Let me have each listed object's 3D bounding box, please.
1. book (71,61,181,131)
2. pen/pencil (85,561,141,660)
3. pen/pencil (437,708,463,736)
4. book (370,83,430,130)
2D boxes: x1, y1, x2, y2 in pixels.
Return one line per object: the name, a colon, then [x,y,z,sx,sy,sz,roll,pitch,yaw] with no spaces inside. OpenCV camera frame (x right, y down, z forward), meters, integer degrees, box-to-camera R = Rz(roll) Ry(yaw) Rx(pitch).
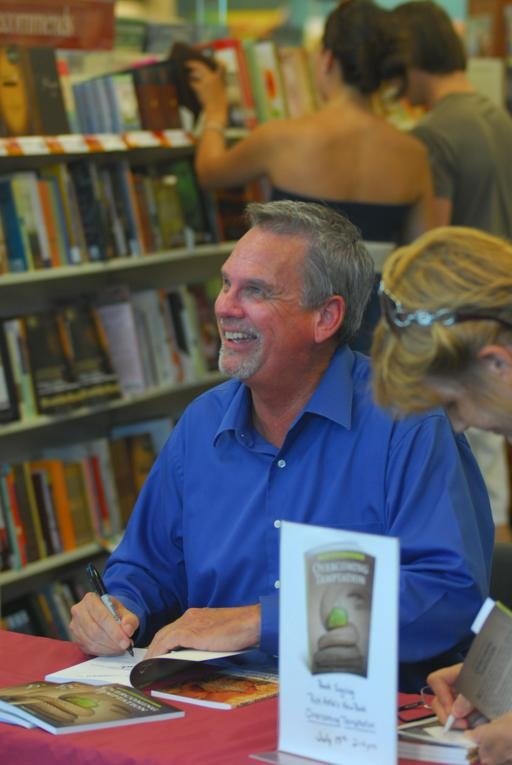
book: [-0.456,-0.997,2.598,0.315,0.295,0.093,-16,32,-24]
pen/pencil: [-0.240,0.391,1.257,0.027,0.182,0.023,-43,-21,17]
pen/pencil: [0.228,0.394,0.867,0.009,0.011,0.039,23,76,34]
book: [0.431,-0.836,2.248,0.133,0.040,0.138,38,2,18]
